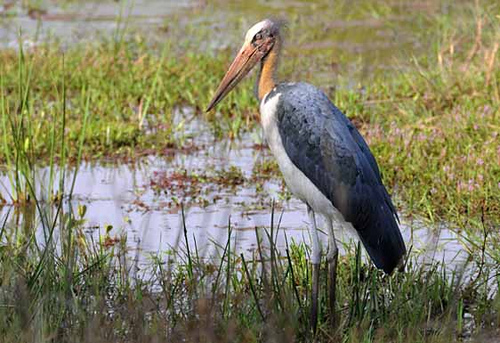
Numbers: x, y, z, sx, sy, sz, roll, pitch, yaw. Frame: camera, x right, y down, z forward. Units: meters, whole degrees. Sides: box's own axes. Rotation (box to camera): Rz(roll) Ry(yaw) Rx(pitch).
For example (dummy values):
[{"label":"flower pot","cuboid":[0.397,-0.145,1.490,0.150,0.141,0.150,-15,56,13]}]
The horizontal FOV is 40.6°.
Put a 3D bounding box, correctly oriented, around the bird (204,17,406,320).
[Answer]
[{"label":"bird","cuboid":[0.445,-0.138,4.942,0.624,2.322,1.178,3,-7,-43]}]
